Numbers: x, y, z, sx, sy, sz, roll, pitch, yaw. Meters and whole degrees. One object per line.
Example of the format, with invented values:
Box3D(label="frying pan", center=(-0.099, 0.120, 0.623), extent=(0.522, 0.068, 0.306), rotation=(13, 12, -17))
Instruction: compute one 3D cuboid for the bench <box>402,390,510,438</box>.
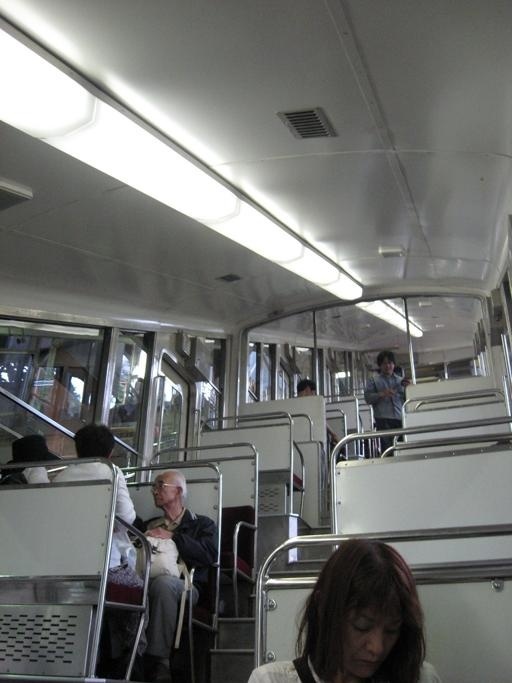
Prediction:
Box3D(label="bench", center=(1.877, 0.677, 4.534), extent=(0.656, 0.408, 0.457), rotation=(-4, 5, 17))

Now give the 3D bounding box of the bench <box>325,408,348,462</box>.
Box3D(label="bench", center=(1.398, 1.682, 8.793), extent=(0.510, 0.866, 0.479), rotation=(-6, -11, 13))

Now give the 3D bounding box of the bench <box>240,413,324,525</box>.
Box3D(label="bench", center=(0.340, 1.707, 6.343), extent=(1.031, 1.868, 1.075), rotation=(-6, -35, 10))

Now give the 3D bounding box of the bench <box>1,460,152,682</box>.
Box3D(label="bench", center=(-1.042, 1.392, 2.892), extent=(0.758, 1.309, 0.763), rotation=(-3, -15, 17))

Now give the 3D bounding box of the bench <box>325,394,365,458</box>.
Box3D(label="bench", center=(1.579, 1.516, 8.691), extent=(0.513, 0.519, 0.407), rotation=(-12, -14, -36))
